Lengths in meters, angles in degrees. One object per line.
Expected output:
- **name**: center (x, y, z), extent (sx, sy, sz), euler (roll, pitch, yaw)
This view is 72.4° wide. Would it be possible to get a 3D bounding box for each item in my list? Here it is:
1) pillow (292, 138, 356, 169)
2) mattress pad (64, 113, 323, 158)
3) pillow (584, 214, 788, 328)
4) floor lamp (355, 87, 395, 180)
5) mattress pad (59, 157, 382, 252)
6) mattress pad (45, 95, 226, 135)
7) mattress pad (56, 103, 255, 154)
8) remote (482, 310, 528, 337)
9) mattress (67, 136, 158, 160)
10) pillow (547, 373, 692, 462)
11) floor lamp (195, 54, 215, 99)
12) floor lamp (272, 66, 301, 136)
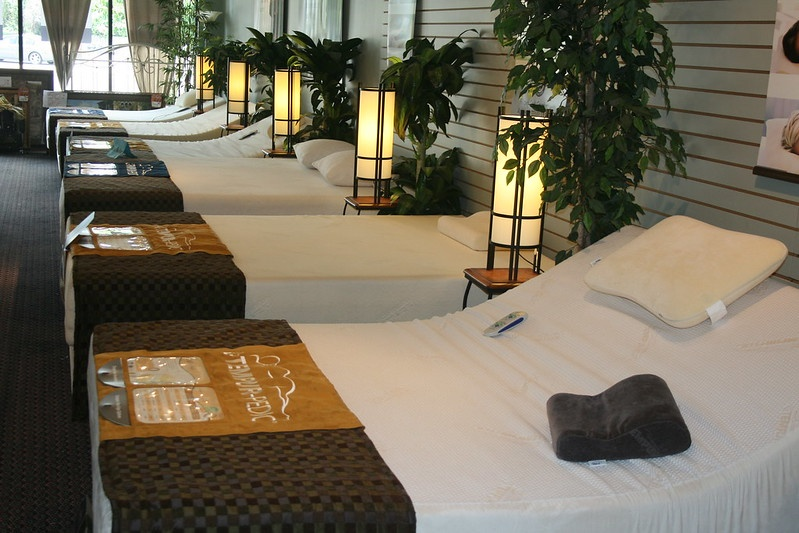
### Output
- **pillow**: center (-0.782, -1.169, 5.503), extent (0.490, 0.113, 0.450), euler (-9, 21, -20)
- **mattress pad**: center (-2.209, -1.468, 6.549), extent (2.360, 0.483, 1.148), euler (-1, 14, -15)
- **pillow**: center (1.037, 0.018, 2.029), extent (0.561, 0.114, 0.543), euler (-33, 29, -25)
- **floor lamp**: center (-0.192, -1.027, 4.260), extent (0.308, 0.701, 0.231), euler (1, 21, 0)
- **mattress pad**: center (-1.435, -0.485, 4.531), extent (1.927, 0.358, 0.975), euler (-2, 13, -15)
- **mattress pad**: center (-4.404, -2.572, 9.094), extent (2.636, 0.757, 1.179), euler (-9, 29, -18)
- **mattress pad**: center (-3.569, -1.753, 7.784), extent (1.954, 0.536, 0.895), euler (-7, 23, 6)
- **remote**: center (0.424, 0.238, 2.271), extent (0.194, 0.036, 0.085), euler (-22, 19, -16)
- **mattress**: center (-3.144, -1.271, 5.812), extent (0.816, 0.153, 0.679), euler (-2, 10, -17)
- **pillow**: center (0.620, 0.437, 1.606), extent (0.358, 0.171, 0.250), euler (1, 17, 1)
- **floor lamp**: center (-3.241, -3.128, 9.083), extent (0.296, 0.708, 0.665), euler (-6, 20, -17)
- **floor lamp**: center (-1.299, -1.890, 6.318), extent (0.325, 0.742, 0.311), euler (-2, 21, -6)
